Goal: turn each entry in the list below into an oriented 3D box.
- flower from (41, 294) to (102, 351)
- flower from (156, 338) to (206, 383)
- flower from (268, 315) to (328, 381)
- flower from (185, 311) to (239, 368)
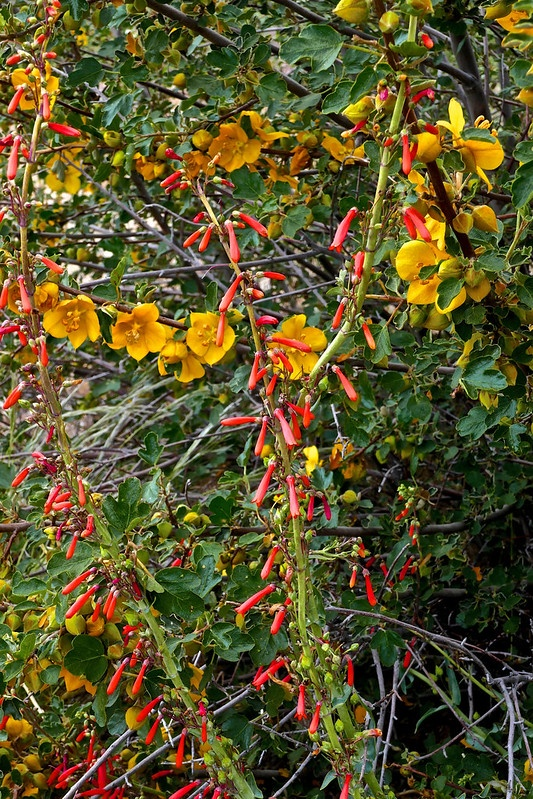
[{"bbox_3d":[-0.420,-0.170,2.239,0.122,0.112,0.053,-34,45,-2],"label":"flower"},{"bbox_3d":[-0.185,-0.095,2.366,0.120,0.098,0.049,19,51,1],"label":"flower"},{"bbox_3d":[0.077,-0.100,2.074,0.137,0.129,0.059,-16,-9,-18],"label":"flower"},{"bbox_3d":[-0.124,-0.129,2.262,0.098,0.116,0.260,-6,10,-4],"label":"flower"}]
